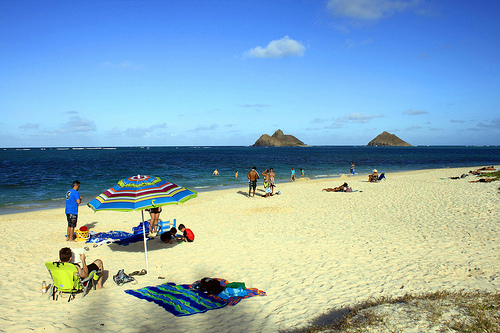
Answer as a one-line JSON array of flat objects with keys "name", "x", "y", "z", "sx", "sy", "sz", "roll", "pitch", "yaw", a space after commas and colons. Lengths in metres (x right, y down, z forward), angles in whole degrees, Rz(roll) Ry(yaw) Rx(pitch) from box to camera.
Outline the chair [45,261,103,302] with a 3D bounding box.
[{"name": "chair", "x": -6.320, "y": 4.061, "z": 13.757, "sx": 1.914, "sy": 1.223, "sz": 1.804, "roll": 1, "pitch": -4, "yaw": 0}]

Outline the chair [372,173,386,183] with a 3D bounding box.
[{"name": "chair", "x": 11.968, "y": 0.913, "z": 35.183, "sx": 0.905, "sy": 0.372, "sz": 1.131, "roll": 6, "pitch": 21, "yaw": 17}]

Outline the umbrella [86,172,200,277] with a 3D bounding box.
[{"name": "umbrella", "x": -4.571, "y": 2.255, "z": 15.477, "sx": 4.592, "sy": 3.618, "sz": 3.983, "roll": -5, "pitch": 5, "yaw": -4}]

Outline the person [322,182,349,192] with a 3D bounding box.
[{"name": "person", "x": 6.717, "y": 1.729, "z": 29.337, "sx": 1.455, "sy": 0.479, "sz": 0.850, "roll": -6, "pitch": 4, "yaw": 13}]

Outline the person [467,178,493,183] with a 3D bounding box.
[{"name": "person", "x": 18.899, "y": 1.181, "z": 30.687, "sx": 1.899, "sy": 0.273, "sz": 0.705, "roll": -3, "pitch": 5, "yaw": 9}]

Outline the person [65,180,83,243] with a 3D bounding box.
[{"name": "person", "x": -8.190, "y": 2.081, "z": 17.440, "sx": 0.826, "sy": 2.788, "sz": 1.186, "roll": -7, "pitch": 5, "yaw": -26}]

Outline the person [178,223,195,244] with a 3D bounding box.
[{"name": "person", "x": -2.910, "y": 3.164, "z": 17.372, "sx": 0.984, "sy": 0.818, "sz": 0.617, "roll": 0, "pitch": -3, "yaw": 25}]
